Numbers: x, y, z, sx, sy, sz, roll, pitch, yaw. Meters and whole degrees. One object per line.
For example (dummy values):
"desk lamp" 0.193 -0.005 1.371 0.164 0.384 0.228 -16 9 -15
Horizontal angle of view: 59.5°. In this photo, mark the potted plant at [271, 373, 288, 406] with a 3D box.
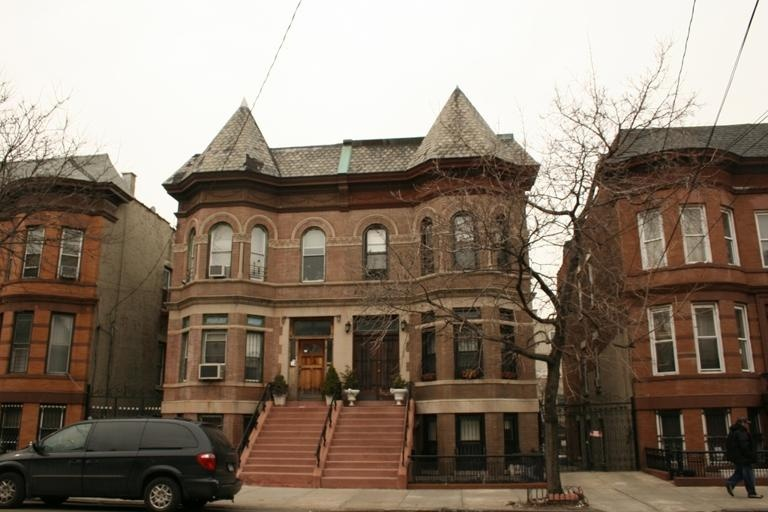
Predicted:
"potted plant" -4.431 5.659 28.579 0.711 1.287 0.504 4 -19 -17

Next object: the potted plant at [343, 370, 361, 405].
"potted plant" -1.379 5.529 28.354 0.604 1.544 0.711 -2 -18 2

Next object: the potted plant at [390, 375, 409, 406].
"potted plant" 0.685 5.630 28.087 1.057 1.169 1.013 0 -32 0

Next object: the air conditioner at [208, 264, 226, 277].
"air conditioner" -7.324 0.700 29.521 0.884 0.592 0.460 -2 -20 4

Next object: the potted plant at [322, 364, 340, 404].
"potted plant" -2.145 5.370 28.280 0.746 1.693 1.292 2 -18 -9

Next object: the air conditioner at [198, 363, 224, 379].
"air conditioner" -7.281 4.843 28.186 1.139 0.601 0.734 -1 -13 5
